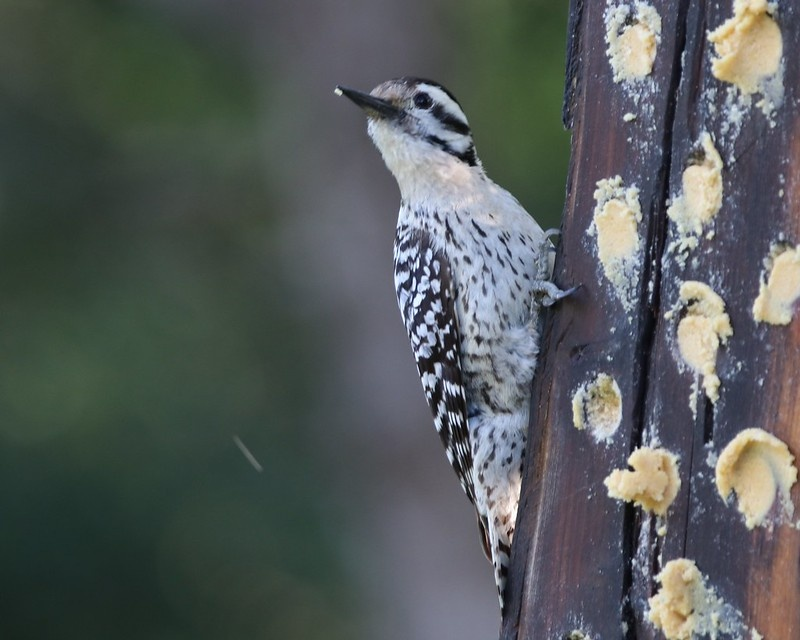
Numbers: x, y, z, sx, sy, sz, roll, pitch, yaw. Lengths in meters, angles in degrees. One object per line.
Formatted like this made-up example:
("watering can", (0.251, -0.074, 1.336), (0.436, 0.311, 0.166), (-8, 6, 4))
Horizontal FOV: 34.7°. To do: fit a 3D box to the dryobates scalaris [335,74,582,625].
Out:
("dryobates scalaris", (0.285, 0.018, 4.413), (0.532, 1.747, 0.806), (-13, -30, 1))
